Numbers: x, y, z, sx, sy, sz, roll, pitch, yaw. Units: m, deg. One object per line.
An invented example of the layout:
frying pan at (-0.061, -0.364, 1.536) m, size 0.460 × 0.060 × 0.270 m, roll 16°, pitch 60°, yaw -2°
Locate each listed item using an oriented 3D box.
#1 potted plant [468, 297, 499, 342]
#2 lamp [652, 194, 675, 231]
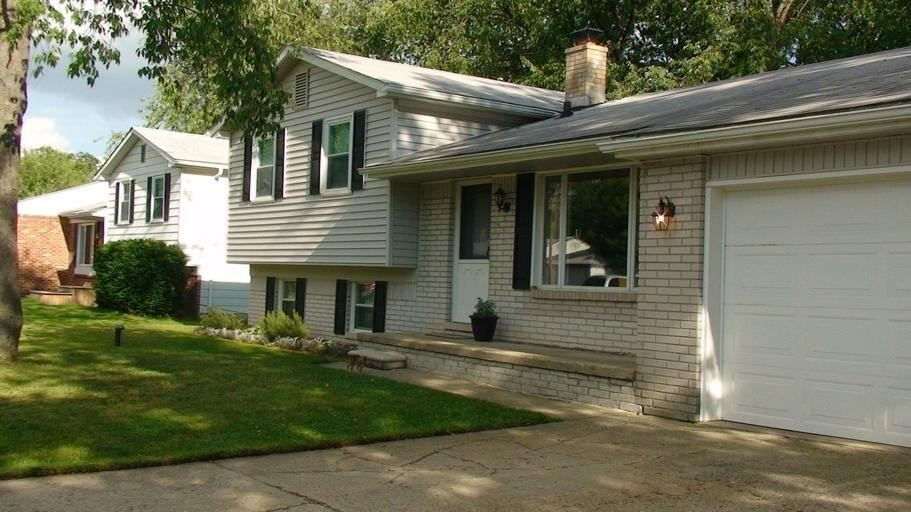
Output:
potted plant at (0.684, 1.528, 16.333) m, size 0.852 × 0.900 × 0.694 m, roll 9°, pitch -2°, yaw -4°
lamp at (3.869, -0.767, 12.804) m, size 0.211 × 0.641 × 0.391 m, roll -9°, pitch 15°, yaw -42°
